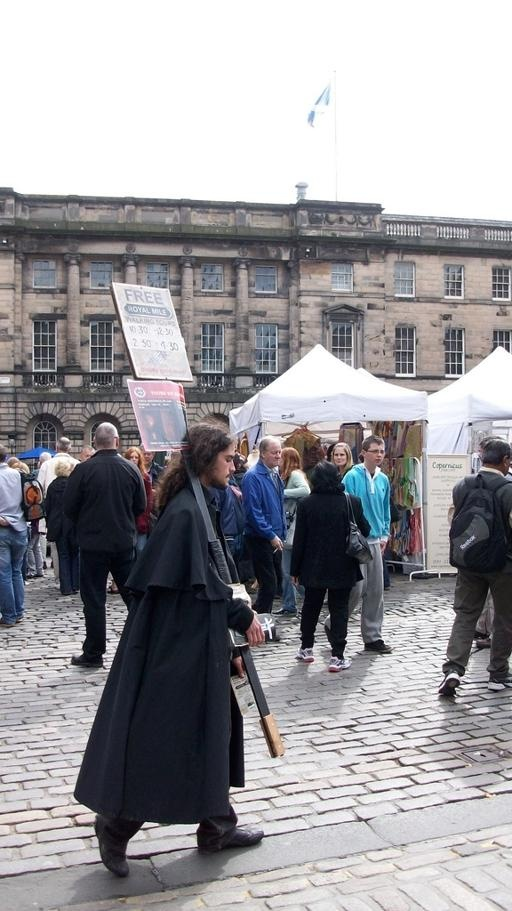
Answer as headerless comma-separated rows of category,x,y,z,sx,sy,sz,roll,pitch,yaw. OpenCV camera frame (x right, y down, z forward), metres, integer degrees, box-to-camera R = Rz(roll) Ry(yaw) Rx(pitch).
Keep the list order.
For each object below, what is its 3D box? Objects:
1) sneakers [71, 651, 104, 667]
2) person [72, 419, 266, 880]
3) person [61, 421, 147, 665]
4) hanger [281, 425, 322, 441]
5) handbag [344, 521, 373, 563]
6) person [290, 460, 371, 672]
sneakers,-1.167,1.407,7.690,0.247,0.125,0.090,8,6,39
person,-0.308,0.738,4.208,0.736,1.719,0.490,-1,1,-21
person,-1.061,0.617,7.903,0.520,1.711,0.523,0,-6,-15
hanger,0.569,-0.277,13.021,0.336,0.117,0.257,1,-1,0
handbag,0.704,0.597,7.658,0.104,0.243,0.234,-14,-30,12
person,0.560,0.754,7.777,0.549,1.411,0.621,-1,1,-27
